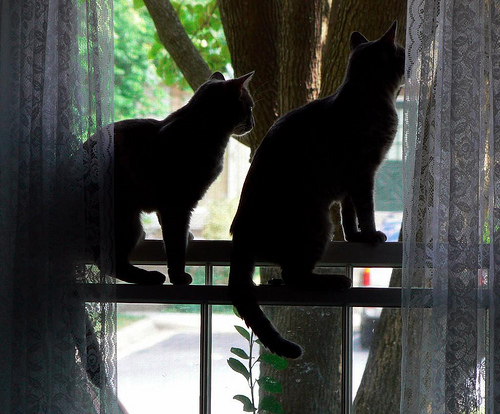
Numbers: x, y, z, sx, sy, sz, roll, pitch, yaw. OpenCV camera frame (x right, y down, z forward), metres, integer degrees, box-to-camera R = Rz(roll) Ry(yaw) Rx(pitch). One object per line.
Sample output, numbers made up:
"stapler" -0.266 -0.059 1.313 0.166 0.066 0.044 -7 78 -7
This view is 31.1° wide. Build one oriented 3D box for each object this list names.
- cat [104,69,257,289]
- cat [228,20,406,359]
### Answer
"cat" -0.278 -0.124 2.867 0.545 0.695 0.343 0 26 -8
"cat" 0.201 -0.108 2.758 0.893 0.785 0.450 -22 18 -36
